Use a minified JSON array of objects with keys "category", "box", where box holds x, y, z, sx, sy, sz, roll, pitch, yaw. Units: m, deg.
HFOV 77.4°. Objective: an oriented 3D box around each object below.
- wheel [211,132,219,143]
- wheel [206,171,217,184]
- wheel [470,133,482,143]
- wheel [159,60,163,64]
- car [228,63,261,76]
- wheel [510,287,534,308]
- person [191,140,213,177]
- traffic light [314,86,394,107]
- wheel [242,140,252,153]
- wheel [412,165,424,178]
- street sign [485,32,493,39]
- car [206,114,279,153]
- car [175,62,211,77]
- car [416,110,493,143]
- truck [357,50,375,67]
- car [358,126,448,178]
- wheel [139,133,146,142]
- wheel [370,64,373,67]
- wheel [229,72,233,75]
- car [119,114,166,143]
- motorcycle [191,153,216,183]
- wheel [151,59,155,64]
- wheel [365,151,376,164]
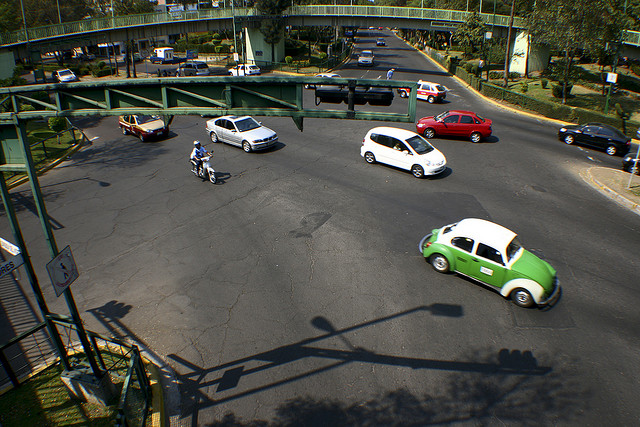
[{"category":"wheel","box":[-7.284,-5.256,27.607,0.706,0.708,0.164,15,30,35]},{"category":"wheel","box":[-6.051,-2.099,22.422,0.756,0.742,0.402,20,33,41]},{"category":"wheel","box":[10.836,-5.273,27.689,0.485,0.500,0.184,16,37,6]},{"category":"wheel","box":[-26.848,-25.607,67.404,0.668,0.696,0.231,1,40,24]},{"category":"car","box":[-10.372,-18.767,52.381,3.788,1.426,3.952,3,26,13]},{"category":"wheel","box":[7.616,3.088,15.157,0.699,0.723,0.728,1,39,0]},{"category":"person","box":[-6.749,-3.050,22.413,0.832,2.049,1.280,-13,26,-21]},{"category":"traffic light","box":[1.150,-3.831,13.225,2.419,0.686,1.166,0,25,5]},{"category":"wheel","box":[-4.688,-4.368,25.698,0.658,0.687,0.260,-5,25,41]},{"category":"wheel","box":[5.595,-2.429,22.700,0.179,0.495,0.501,-29,75,-43]},{"category":"street sign","box":[23.519,-24.657,55.434,0.817,0.827,1.916,7,27,20]},{"category":"car","box":[-5.330,-5.624,26.622,5.117,1.713,2.429,22,41,28]},{"category":"car","box":[-16.509,-18.846,52.080,4.682,1.464,2.752,20,33,40]},{"category":"car","box":[9.575,-6.394,28.227,4.944,1.822,2.318,7,35,6]},{"category":"truck","box":[6.965,-23.114,60.024,1.929,1.676,3.693,0,41,6]},{"category":"car","box":[4.983,-3.751,23.490,4.702,1.912,2.637,20,47,28]},{"category":"wheel","box":[-12.622,-5.404,28.305,0.241,0.634,1.079,-20,30,-33]},{"category":"wheel","box":[7.646,-22.036,59.504,0.380,0.256,0.089,2,5,13]},{"category":"wheel","box":[-11.998,-18.719,53.609,0.430,0.132,0.438,1,53,-1]},{"category":"car","box":[-12.761,-6.214,29.009,3.868,1.562,1.596,18,31,37]},{"category":"motorcycle","box":[-6.663,-2.548,22.605,1.811,1.146,1.008,24,39,34]},{"category":"wheel","box":[-29.242,-26.515,69.811,0.266,0.890,0.860,-8,-6,-20]},{"category":"wheel","box":[3.064,-3.420,24.163,0.169,0.498,0.504,-31,75,-40]}]
